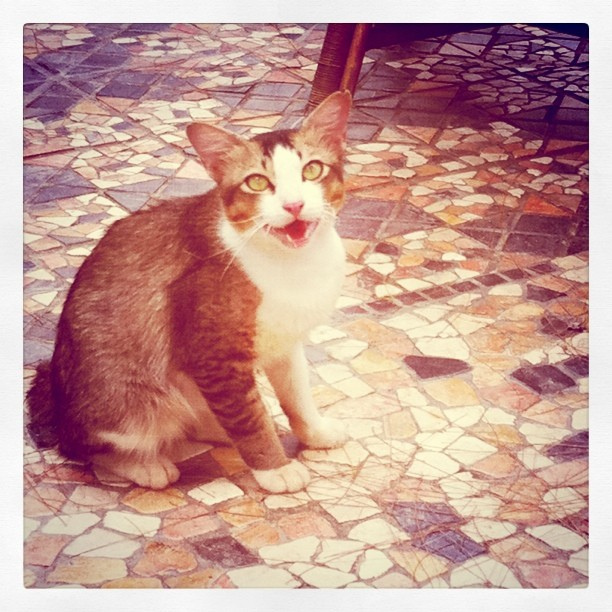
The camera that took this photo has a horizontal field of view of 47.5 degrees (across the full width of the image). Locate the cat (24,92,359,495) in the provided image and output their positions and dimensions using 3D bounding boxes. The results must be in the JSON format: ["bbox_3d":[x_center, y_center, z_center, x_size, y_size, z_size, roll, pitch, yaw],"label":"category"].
[{"bbox_3d":[-0.322,-0.031,2.313,1.115,1.386,0.474,3,24,-15],"label":"cat"}]

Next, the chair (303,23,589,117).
[{"bbox_3d":[0.657,-1.053,3.118,0.830,0.476,0.571,-6,42,21],"label":"chair"}]
